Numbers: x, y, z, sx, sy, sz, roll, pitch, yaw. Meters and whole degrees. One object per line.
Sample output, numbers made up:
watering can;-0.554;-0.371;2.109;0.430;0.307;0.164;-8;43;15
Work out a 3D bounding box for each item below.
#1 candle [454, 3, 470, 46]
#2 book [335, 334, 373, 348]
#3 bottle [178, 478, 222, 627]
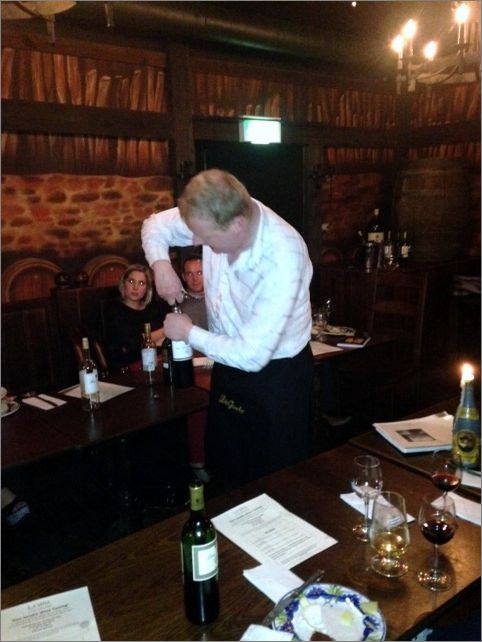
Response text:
candle;1.082;-1.433;2.478;0.070;0.227;0.243;0;9;24
book;0.712;0.133;3.129;0.174;0.036;0.317;2;10;33
bottle;-0.077;0.370;0.891;0.070;0.269;0.199;-5;9;-6
